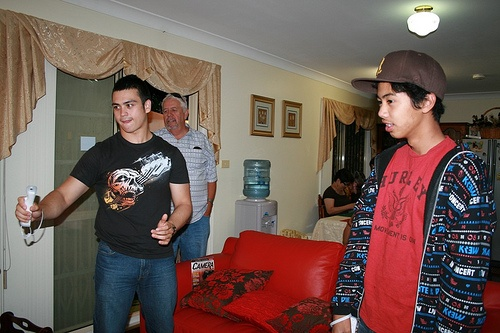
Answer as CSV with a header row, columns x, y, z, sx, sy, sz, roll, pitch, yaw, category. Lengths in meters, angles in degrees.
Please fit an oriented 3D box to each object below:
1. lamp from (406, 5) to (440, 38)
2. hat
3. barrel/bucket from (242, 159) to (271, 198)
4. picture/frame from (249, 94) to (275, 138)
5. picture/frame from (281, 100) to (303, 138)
x,y,z,sx,sy,sz,roll,pitch,yaw,category
1.834,-1.556,3.574,0.289,0.318,0.272,4,2,22,lamp
0.723,-0.445,1.611,0.423,0.200,0.296,12,3,15,hat
0.067,0.187,4.975,0.522,0.749,0.503,0,-8,0,barrel/bucket
0.166,-0.778,5.068,0.056,0.746,0.719,2,2,39,picture/frame
0.680,-0.815,5.620,0.053,0.674,0.685,2,2,41,picture/frame
